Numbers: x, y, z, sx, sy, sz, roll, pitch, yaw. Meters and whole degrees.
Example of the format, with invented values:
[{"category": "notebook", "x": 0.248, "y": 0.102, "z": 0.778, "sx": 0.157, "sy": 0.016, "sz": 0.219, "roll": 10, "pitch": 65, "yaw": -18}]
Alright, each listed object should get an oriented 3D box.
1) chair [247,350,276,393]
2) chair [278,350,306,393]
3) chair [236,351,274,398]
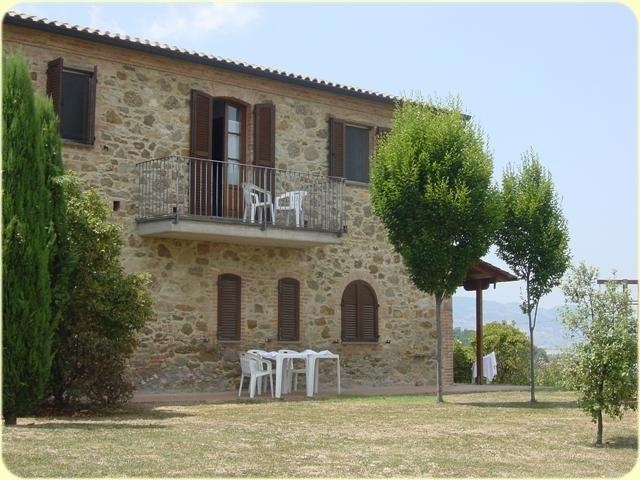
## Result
[{"category": "chair", "x": -1.168, "y": 2.743, "z": 19.403, "sx": 0.524, "sy": 0.918, "sz": 0.653, "roll": 0, "pitch": -7, "yaw": -10}, {"category": "chair", "x": -0.682, "y": 2.841, "z": 20.377, "sx": 0.783, "sy": 0.969, "sz": 0.805, "roll": 1, "pitch": 5, "yaw": -13}, {"category": "chair", "x": -1.274, "y": 2.735, "z": 19.520, "sx": 0.689, "sy": 0.917, "sz": 0.705, "roll": -2, "pitch": -3, "yaw": 19}]
